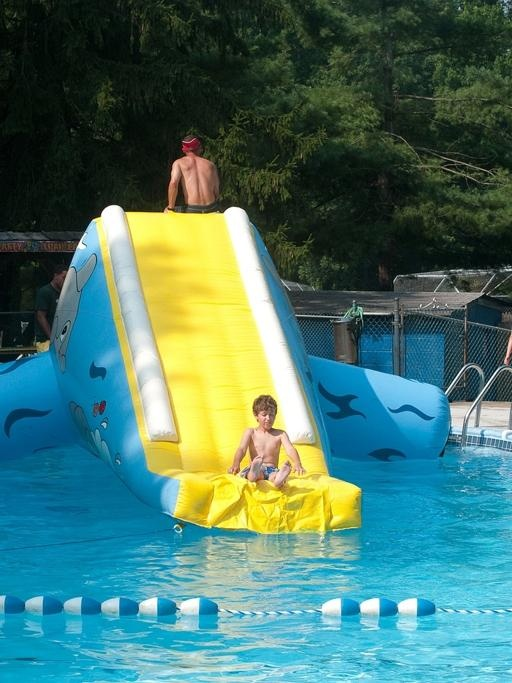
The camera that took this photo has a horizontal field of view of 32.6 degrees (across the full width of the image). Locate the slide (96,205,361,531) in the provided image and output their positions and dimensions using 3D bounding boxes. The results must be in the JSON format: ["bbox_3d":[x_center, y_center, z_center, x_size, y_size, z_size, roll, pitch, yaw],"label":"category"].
[{"bbox_3d":[-0.403,0.128,7.190,1.354,0.459,3.441,0,35,-17],"label":"slide"}]

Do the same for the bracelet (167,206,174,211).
[{"bbox_3d":[-0.860,-1.312,8.773,0.070,0.021,0.056,8,11,-5],"label":"bracelet"}]

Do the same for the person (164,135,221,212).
[{"bbox_3d":[-0.635,-1.737,9.118,0.474,0.865,0.693,1,3,-2],"label":"person"}]
